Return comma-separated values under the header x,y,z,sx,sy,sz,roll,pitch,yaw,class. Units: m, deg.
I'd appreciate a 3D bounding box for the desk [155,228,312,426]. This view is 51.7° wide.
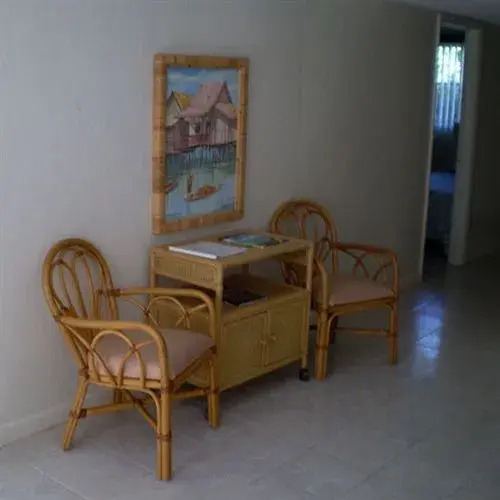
x,y,z,sx,sy,sz,roll,pitch,yaw,class
-0.072,0.325,2.760,0.726,0.762,0.561,-10,16,-36,desk

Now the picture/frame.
x,y,z,sx,sy,sz,roll,pitch,yaw,class
-0.278,-0.579,2.645,0.048,1.175,0.759,13,16,36,picture/frame

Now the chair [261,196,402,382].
x,y,z,sx,sy,sz,roll,pitch,yaw,class
0.531,0.203,3.215,0.582,1.009,0.747,-4,7,-11,chair

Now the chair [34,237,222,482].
x,y,z,sx,sy,sz,roll,pitch,yaw,class
-0.475,0.393,2.167,0.593,0.877,0.543,4,11,28,chair
